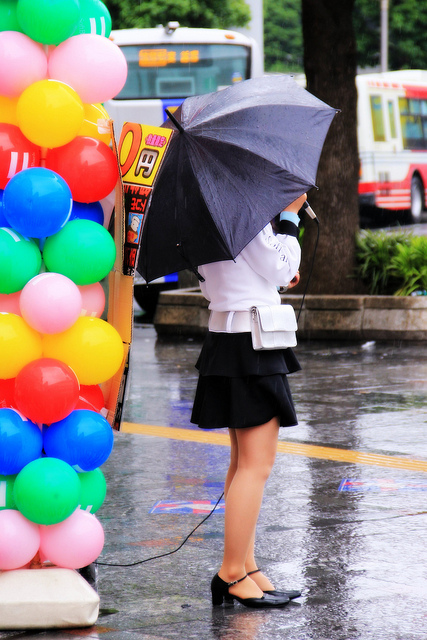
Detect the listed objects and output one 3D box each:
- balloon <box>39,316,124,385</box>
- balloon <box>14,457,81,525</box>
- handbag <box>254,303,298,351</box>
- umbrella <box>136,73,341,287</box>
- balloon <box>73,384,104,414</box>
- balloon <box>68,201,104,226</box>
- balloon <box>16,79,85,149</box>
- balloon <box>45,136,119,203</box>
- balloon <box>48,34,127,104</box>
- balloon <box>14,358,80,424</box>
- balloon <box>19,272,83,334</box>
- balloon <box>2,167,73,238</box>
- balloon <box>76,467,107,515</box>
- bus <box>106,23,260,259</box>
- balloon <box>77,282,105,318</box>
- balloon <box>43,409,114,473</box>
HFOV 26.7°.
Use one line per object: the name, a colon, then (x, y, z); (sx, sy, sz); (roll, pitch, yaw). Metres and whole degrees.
balloon: (-0.446, 0.108, 3.199); (0.253, 0.247, 0.335); (-6, 14, -14)
balloon: (-0.557, 0.554, 2.980); (0.219, 0.243, 0.213); (-2, -8, -17)
handbag: (0.215, 0.024, 3.194); (0.174, 0.153, 0.120); (-4, 6, -10)
umbrella: (0.098, -0.545, 3.356); (0.789, 0.783, 0.706); (-4, 6, -4)
balloon: (-0.441, 0.278, 3.201); (0.090, 0.091, 0.105); (-6, 17, 1)
balloon: (-0.457, -0.376, 3.238); (0.091, 0.102, 0.087); (1, 1, 0)
balloon: (-0.547, -0.678, 2.970); (0.223, 0.217, 0.122); (-1, 1, -7)
balloon: (-0.442, -0.526, 3.156); (0.231, 0.257, 0.216); (7, 8, 36)
balloon: (-0.448, -0.855, 3.221); (0.290, 0.232, 0.250); (2, -3, -2)
balloon: (-0.565, 0.238, 3.019); (0.234, 0.266, 0.232); (1, 12, -9)
balloon: (-0.548, -0.054, 3.014); (0.204, 0.237, 0.210); (-3, -9, 33)
balloon: (-0.556, -0.364, 3.035); (0.226, 0.254, 0.225); (1, -9, 8)
balloon: (-0.460, 0.613, 3.228); (0.155, 0.176, 0.153); (3, -2, -11)
bus: (-0.805, -2.716, 17.779); (2.790, 3.195, 5.799); (-1, -14, -3)
balloon: (-0.432, -0.066, 3.189); (0.112, 0.126, 0.111); (0, 1, 3)
balloon: (-0.466, 0.422, 3.152); (0.219, 0.224, 0.285); (6, -6, -30)
